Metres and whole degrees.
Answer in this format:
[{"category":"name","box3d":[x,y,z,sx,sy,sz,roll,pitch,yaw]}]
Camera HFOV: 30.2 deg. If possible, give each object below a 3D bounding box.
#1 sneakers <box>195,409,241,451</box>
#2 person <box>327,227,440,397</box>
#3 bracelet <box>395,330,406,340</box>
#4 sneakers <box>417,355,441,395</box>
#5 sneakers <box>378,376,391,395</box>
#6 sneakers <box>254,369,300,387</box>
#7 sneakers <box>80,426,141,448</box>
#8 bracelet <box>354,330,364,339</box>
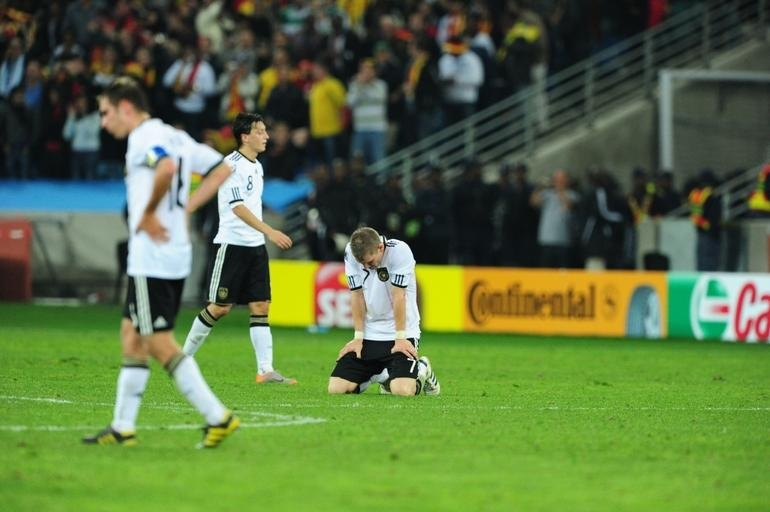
[{"category":"sneakers","box3d":[-1.718,1.804,14.563,0.276,0.604,0.222,35,26,-20]},{"category":"person","box3d":[-0.050,0.645,16.590,1.096,1.938,0.584,1,9,0]},{"category":"bracelet","box3d":[0.191,0.924,16.538,0.094,0.080,0.100,0,-2,-4]},{"category":"sneakers","box3d":[0.471,1.457,16.623,0.162,0.531,0.219,-12,20,28]},{"category":"sneakers","box3d":[0.004,1.542,16.648,0.081,0.114,0.234,1,-9,-14]},{"category":"sneakers","box3d":[-1.298,1.476,17.150,0.512,0.236,0.191,0,-3,4]},{"category":"sneakers","box3d":[-2.767,1.845,14.419,0.549,0.249,0.210,6,-9,-3]},{"category":"bracelet","box3d":[-0.304,0.933,16.766,0.085,0.075,0.090,1,-6,-7]}]
